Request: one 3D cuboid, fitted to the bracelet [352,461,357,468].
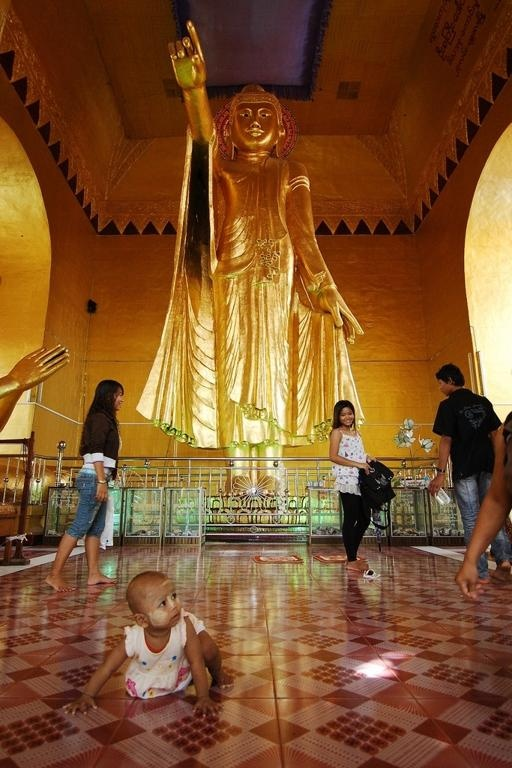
[{"bbox_3d":[0.662,0.509,2.851,0.032,0.035,0.036,3,-13,-9],"label":"bracelet"}]

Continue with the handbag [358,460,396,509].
[{"bbox_3d":[0.815,0.655,2.911,0.260,0.316,0.147,1,-13,-9],"label":"handbag"}]

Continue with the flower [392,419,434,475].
[{"bbox_3d":[2.127,0.721,5.746,0.500,0.553,0.326,-8,16,-17],"label":"flower"}]
